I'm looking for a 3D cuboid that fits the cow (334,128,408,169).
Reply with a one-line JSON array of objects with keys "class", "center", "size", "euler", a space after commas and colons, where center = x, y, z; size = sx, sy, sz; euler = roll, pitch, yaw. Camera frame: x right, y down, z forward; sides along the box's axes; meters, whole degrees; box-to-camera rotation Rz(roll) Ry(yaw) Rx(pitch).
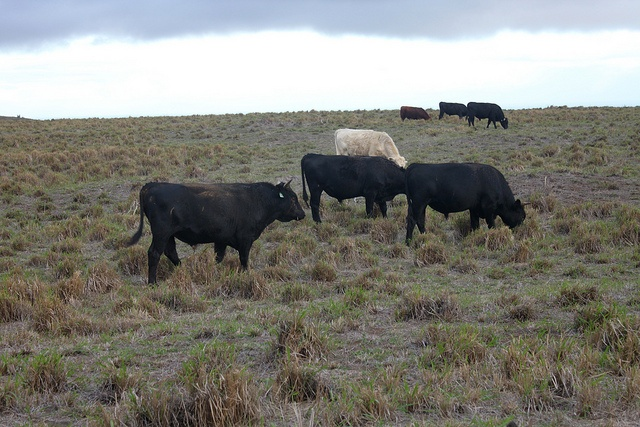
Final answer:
[{"class": "cow", "center": [1.777, -2.556, 24.440], "size": [3.451, 1.980, 1.204], "euler": [5, 19, 16]}]
